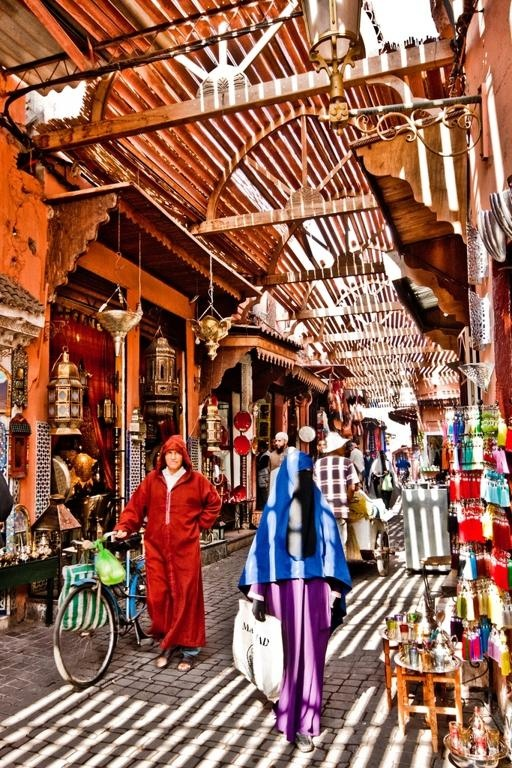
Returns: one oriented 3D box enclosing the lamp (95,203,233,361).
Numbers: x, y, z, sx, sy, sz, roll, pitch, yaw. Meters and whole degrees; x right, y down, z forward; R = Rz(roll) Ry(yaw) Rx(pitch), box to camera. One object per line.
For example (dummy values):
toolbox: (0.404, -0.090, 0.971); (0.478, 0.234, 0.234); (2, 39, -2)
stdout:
lamp: (-1.243, -0.971, 9.644); (1.689, 3.173, 1.073); (-1, -1, -12)

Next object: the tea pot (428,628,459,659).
tea pot: (1.010, 1.371, 3.238); (0.159, 0.182, 0.127); (-1, -13, -3)

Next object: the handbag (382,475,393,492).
handbag: (2.736, 2.058, 12.722); (0.208, 0.337, 0.617); (-1, -8, 9)

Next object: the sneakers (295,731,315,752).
sneakers: (0.241, 1.825, 3.094); (0.108, 0.061, 0.098); (-2, -8, 15)

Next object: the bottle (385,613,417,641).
bottle: (0.857, 1.417, 3.533); (0.127, 0.122, 0.155); (1, -17, 1)

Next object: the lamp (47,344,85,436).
lamp: (-1.991, 0.070, 6.310); (0.339, 0.888, 0.285); (3, -8, -20)

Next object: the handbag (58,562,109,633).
handbag: (-1.169, 1.458, 4.128); (0.182, 0.520, 0.494); (-13, -27, 23)

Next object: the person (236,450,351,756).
person: (0.243, 1.139, 3.477); (0.525, 1.527, 0.515); (-6, -9, 41)
